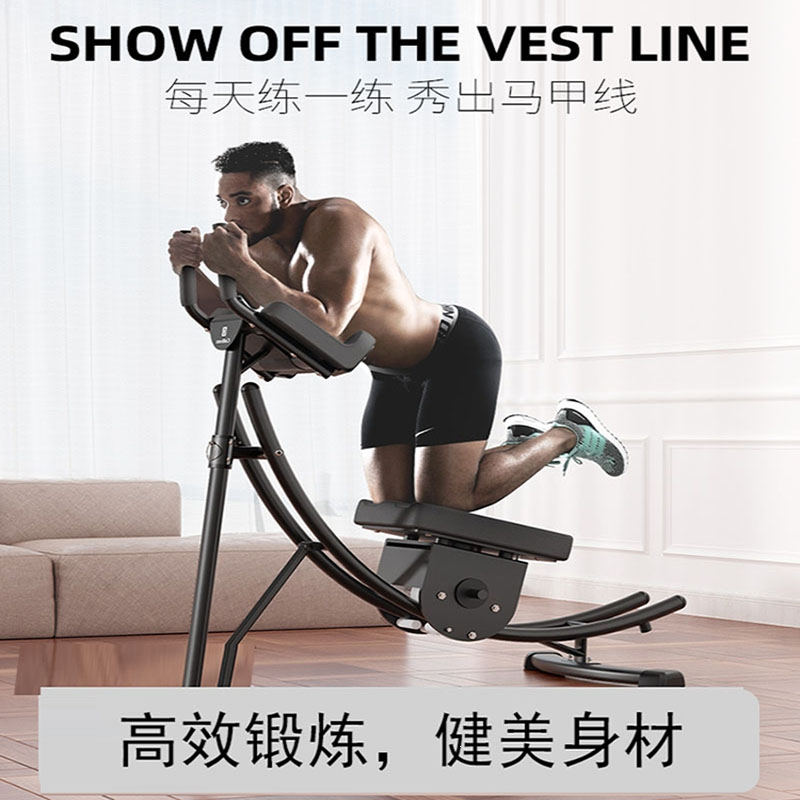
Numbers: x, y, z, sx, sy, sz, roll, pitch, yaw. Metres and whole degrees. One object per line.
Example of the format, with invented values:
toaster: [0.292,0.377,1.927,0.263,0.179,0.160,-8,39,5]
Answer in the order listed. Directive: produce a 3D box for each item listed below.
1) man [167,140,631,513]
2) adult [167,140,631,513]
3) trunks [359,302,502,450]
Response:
man: [-0.006,-0.204,3.300,1.875,1.236,0.650,-1,-4,-40]
adult: [-0.009,-0.206,3.278,1.844,1.222,0.628,-1,-4,-37]
trunks: [0.094,-0.084,3.068,0.664,0.530,0.371,-4,-12,21]
